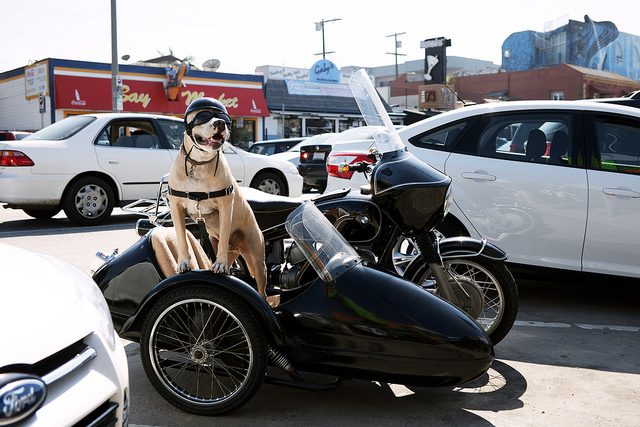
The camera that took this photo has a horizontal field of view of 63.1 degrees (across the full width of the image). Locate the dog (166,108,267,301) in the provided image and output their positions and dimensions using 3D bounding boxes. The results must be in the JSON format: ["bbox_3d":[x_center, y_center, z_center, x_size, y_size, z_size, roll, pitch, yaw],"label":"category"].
[{"bbox_3d":[-0.750,-0.035,3.918,0.750,1.491,0.631,-6,13,-28],"label":"dog"}]

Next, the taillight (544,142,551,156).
[{"bbox_3d":[2.397,-0.685,5.481,0.045,0.126,0.070,6,13,27],"label":"taillight"}]

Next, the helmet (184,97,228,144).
[{"bbox_3d":[-0.836,-0.666,3.735,0.287,0.322,0.291,1,53,-18],"label":"helmet"}]

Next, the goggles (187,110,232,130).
[{"bbox_3d":[-0.772,-0.668,3.683,0.311,0.130,0.171,-4,12,-20],"label":"goggles"}]

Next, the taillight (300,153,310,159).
[{"bbox_3d":[-0.440,-1.630,14.666,0.101,0.171,0.321,-10,15,-39],"label":"taillight"}]

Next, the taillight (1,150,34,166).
[{"bbox_3d":[-5.081,-0.916,8.683,0.348,0.125,0.247,4,-2,-17],"label":"taillight"}]

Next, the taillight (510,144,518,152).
[{"bbox_3d":[2.117,-0.721,5.688,0.074,0.092,0.073,3,1,26],"label":"taillight"}]
